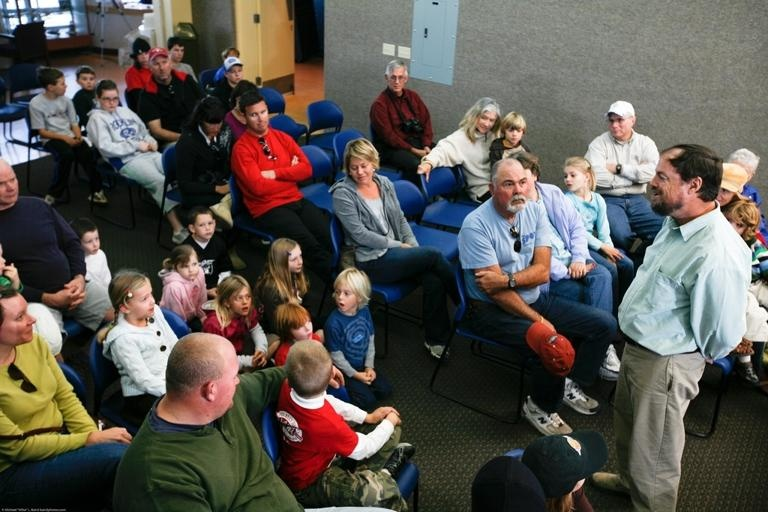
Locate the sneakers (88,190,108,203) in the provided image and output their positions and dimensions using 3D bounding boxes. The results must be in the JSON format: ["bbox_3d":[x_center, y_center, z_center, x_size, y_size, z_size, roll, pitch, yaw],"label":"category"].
[{"bbox_3d":[-3.126,-0.644,6.672,0.235,0.110,0.119,14,31,12],"label":"sneakers"}]

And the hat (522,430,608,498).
[{"bbox_3d":[0.978,1.106,3.225,0.445,0.179,0.283,-20,48,-13],"label":"hat"}]

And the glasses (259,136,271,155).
[{"bbox_3d":[-1.094,-1.021,5.590,0.092,0.150,0.033,-8,0,-34],"label":"glasses"}]

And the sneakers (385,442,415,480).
[{"bbox_3d":[0.107,1.273,3.796,0.099,0.088,0.257,-22,20,52],"label":"sneakers"}]

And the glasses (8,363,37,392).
[{"bbox_3d":[-2.135,0.724,3.563,0.063,0.233,0.072,-5,33,52],"label":"glasses"}]

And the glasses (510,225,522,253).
[{"bbox_3d":[0.980,-0.131,4.529,0.103,0.205,0.060,7,18,10],"label":"glasses"}]

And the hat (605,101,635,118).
[{"bbox_3d":[2.333,-1.424,5.887,0.268,0.136,0.192,13,3,-37],"label":"hat"}]

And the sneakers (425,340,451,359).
[{"bbox_3d":[0.428,0.779,4.957,0.094,0.107,0.214,-30,40,-31],"label":"sneakers"}]

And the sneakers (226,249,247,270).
[{"bbox_3d":[-1.418,0.024,5.815,0.155,0.061,0.199,-15,60,-37],"label":"sneakers"}]

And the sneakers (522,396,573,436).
[{"bbox_3d":[1.184,1.184,4.442,0.362,0.232,0.135,24,44,26],"label":"sneakers"}]

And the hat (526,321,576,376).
[{"bbox_3d":[1.128,0.635,4.219,0.262,0.398,0.144,-39,17,-15],"label":"hat"}]
